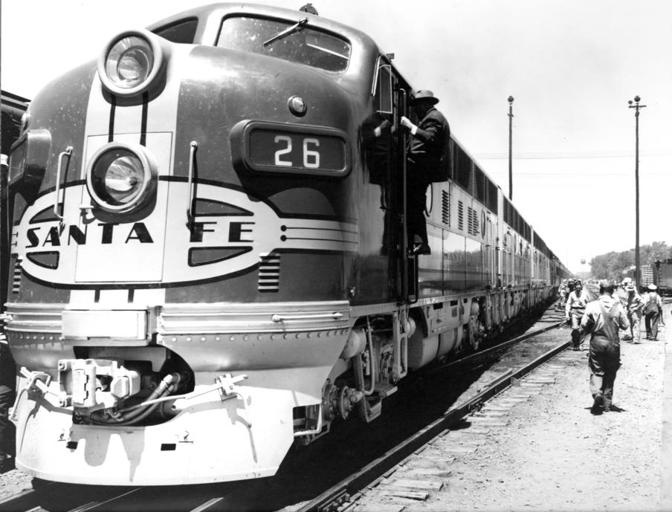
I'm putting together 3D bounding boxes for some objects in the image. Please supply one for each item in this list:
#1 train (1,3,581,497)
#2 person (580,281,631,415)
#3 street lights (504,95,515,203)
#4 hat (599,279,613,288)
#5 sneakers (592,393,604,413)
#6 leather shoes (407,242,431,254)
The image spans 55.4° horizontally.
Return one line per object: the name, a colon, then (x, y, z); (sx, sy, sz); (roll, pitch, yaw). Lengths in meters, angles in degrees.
train: (-1.031, -0.377, 6.393); (4.103, 4.730, 1.714); (1, -1, -27)
person: (4.037, 1.361, 9.565); (0.645, 1.972, 0.470); (1, -1, -19)
street lights: (9.377, -6.390, 34.260); (0.611, 4.645, 0.692); (-5, -11, 45)
hat: (4.068, 0.405, 9.664); (0.140, 0.061, 0.156); (-4, 5, -3)
sneakers: (3.944, 2.233, 9.597); (0.163, 0.326, 0.121); (10, 7, 44)
leather shoes: (1.003, -0.104, 7.739); (0.208, 0.193, 0.153); (-3, -2, 2)
